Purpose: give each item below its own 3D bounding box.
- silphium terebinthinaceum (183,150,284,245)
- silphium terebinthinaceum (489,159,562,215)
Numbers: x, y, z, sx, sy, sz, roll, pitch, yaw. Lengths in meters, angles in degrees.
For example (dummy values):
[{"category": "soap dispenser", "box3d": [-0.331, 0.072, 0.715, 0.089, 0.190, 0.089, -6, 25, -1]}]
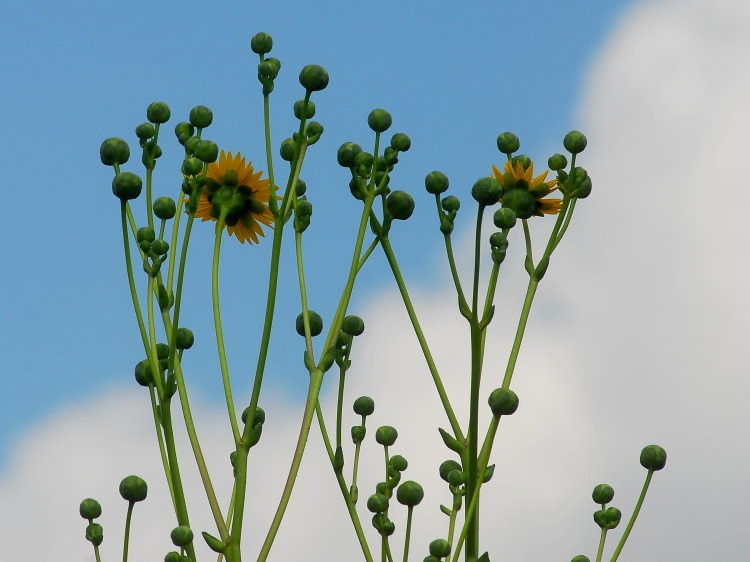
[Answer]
[{"category": "silphium terebinthinaceum", "box3d": [-0.231, -0.122, 4.863, 0.149, 0.072, 0.170, 19, -56, 8]}, {"category": "silphium terebinthinaceum", "box3d": [0.212, -0.155, 4.872, 0.130, 0.069, 0.148, 17, 4, 15]}]
